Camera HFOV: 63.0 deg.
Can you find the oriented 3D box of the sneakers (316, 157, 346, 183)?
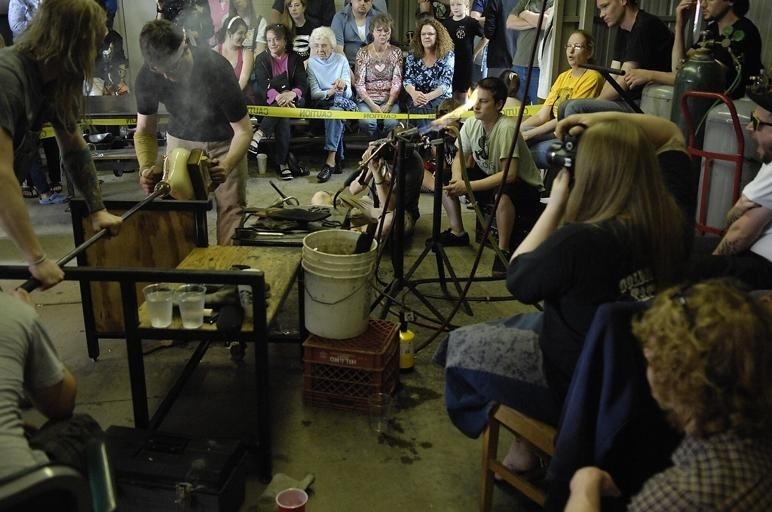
[{"bbox_3d":[-0.764,-1.229,9.003,0.184,0.191,0.539,19,31,15],"label":"sneakers"}]

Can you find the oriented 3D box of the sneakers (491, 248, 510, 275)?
[{"bbox_3d":[0.997,0.080,5.442,0.138,0.173,0.414,-1,3,6],"label":"sneakers"}]

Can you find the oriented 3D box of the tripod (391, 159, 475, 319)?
[{"bbox_3d":[0.323,-0.256,5.101,0.825,1.561,0.789,-2,4,0],"label":"tripod"}]

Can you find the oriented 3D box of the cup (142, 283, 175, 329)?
[{"bbox_3d":[-1.241,0.279,3.571,0.225,0.234,0.193,-2,13,3],"label":"cup"}]

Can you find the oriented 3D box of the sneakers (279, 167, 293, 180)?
[{"bbox_3d":[-1.387,-1.161,8.923,0.110,0.102,0.281,-11,28,-15],"label":"sneakers"}]

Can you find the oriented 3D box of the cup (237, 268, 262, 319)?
[{"bbox_3d":[-0.792,0.267,3.703,0.115,0.157,0.383,-20,13,-10],"label":"cup"}]

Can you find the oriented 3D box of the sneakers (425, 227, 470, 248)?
[{"bbox_3d":[0.678,-0.188,6.449,0.536,0.210,0.179,2,6,-11],"label":"sneakers"}]

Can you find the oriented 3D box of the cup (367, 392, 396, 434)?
[{"bbox_3d":[-0.022,0.953,3.919,0.157,0.193,0.288,0,17,0],"label":"cup"}]

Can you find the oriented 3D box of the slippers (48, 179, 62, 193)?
[{"bbox_3d":[-3.997,-0.846,7.766,0.139,0.128,0.033,2,1,-5],"label":"slippers"}]

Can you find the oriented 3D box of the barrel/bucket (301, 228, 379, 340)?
[{"bbox_3d":[-0.226,0.139,4.224,0.613,0.698,0.648,2,16,-1],"label":"barrel/bucket"}]

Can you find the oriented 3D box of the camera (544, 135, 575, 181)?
[{"bbox_3d":[0.847,-0.516,3.253,0.182,0.183,0.185,2,9,-2],"label":"camera"}]
